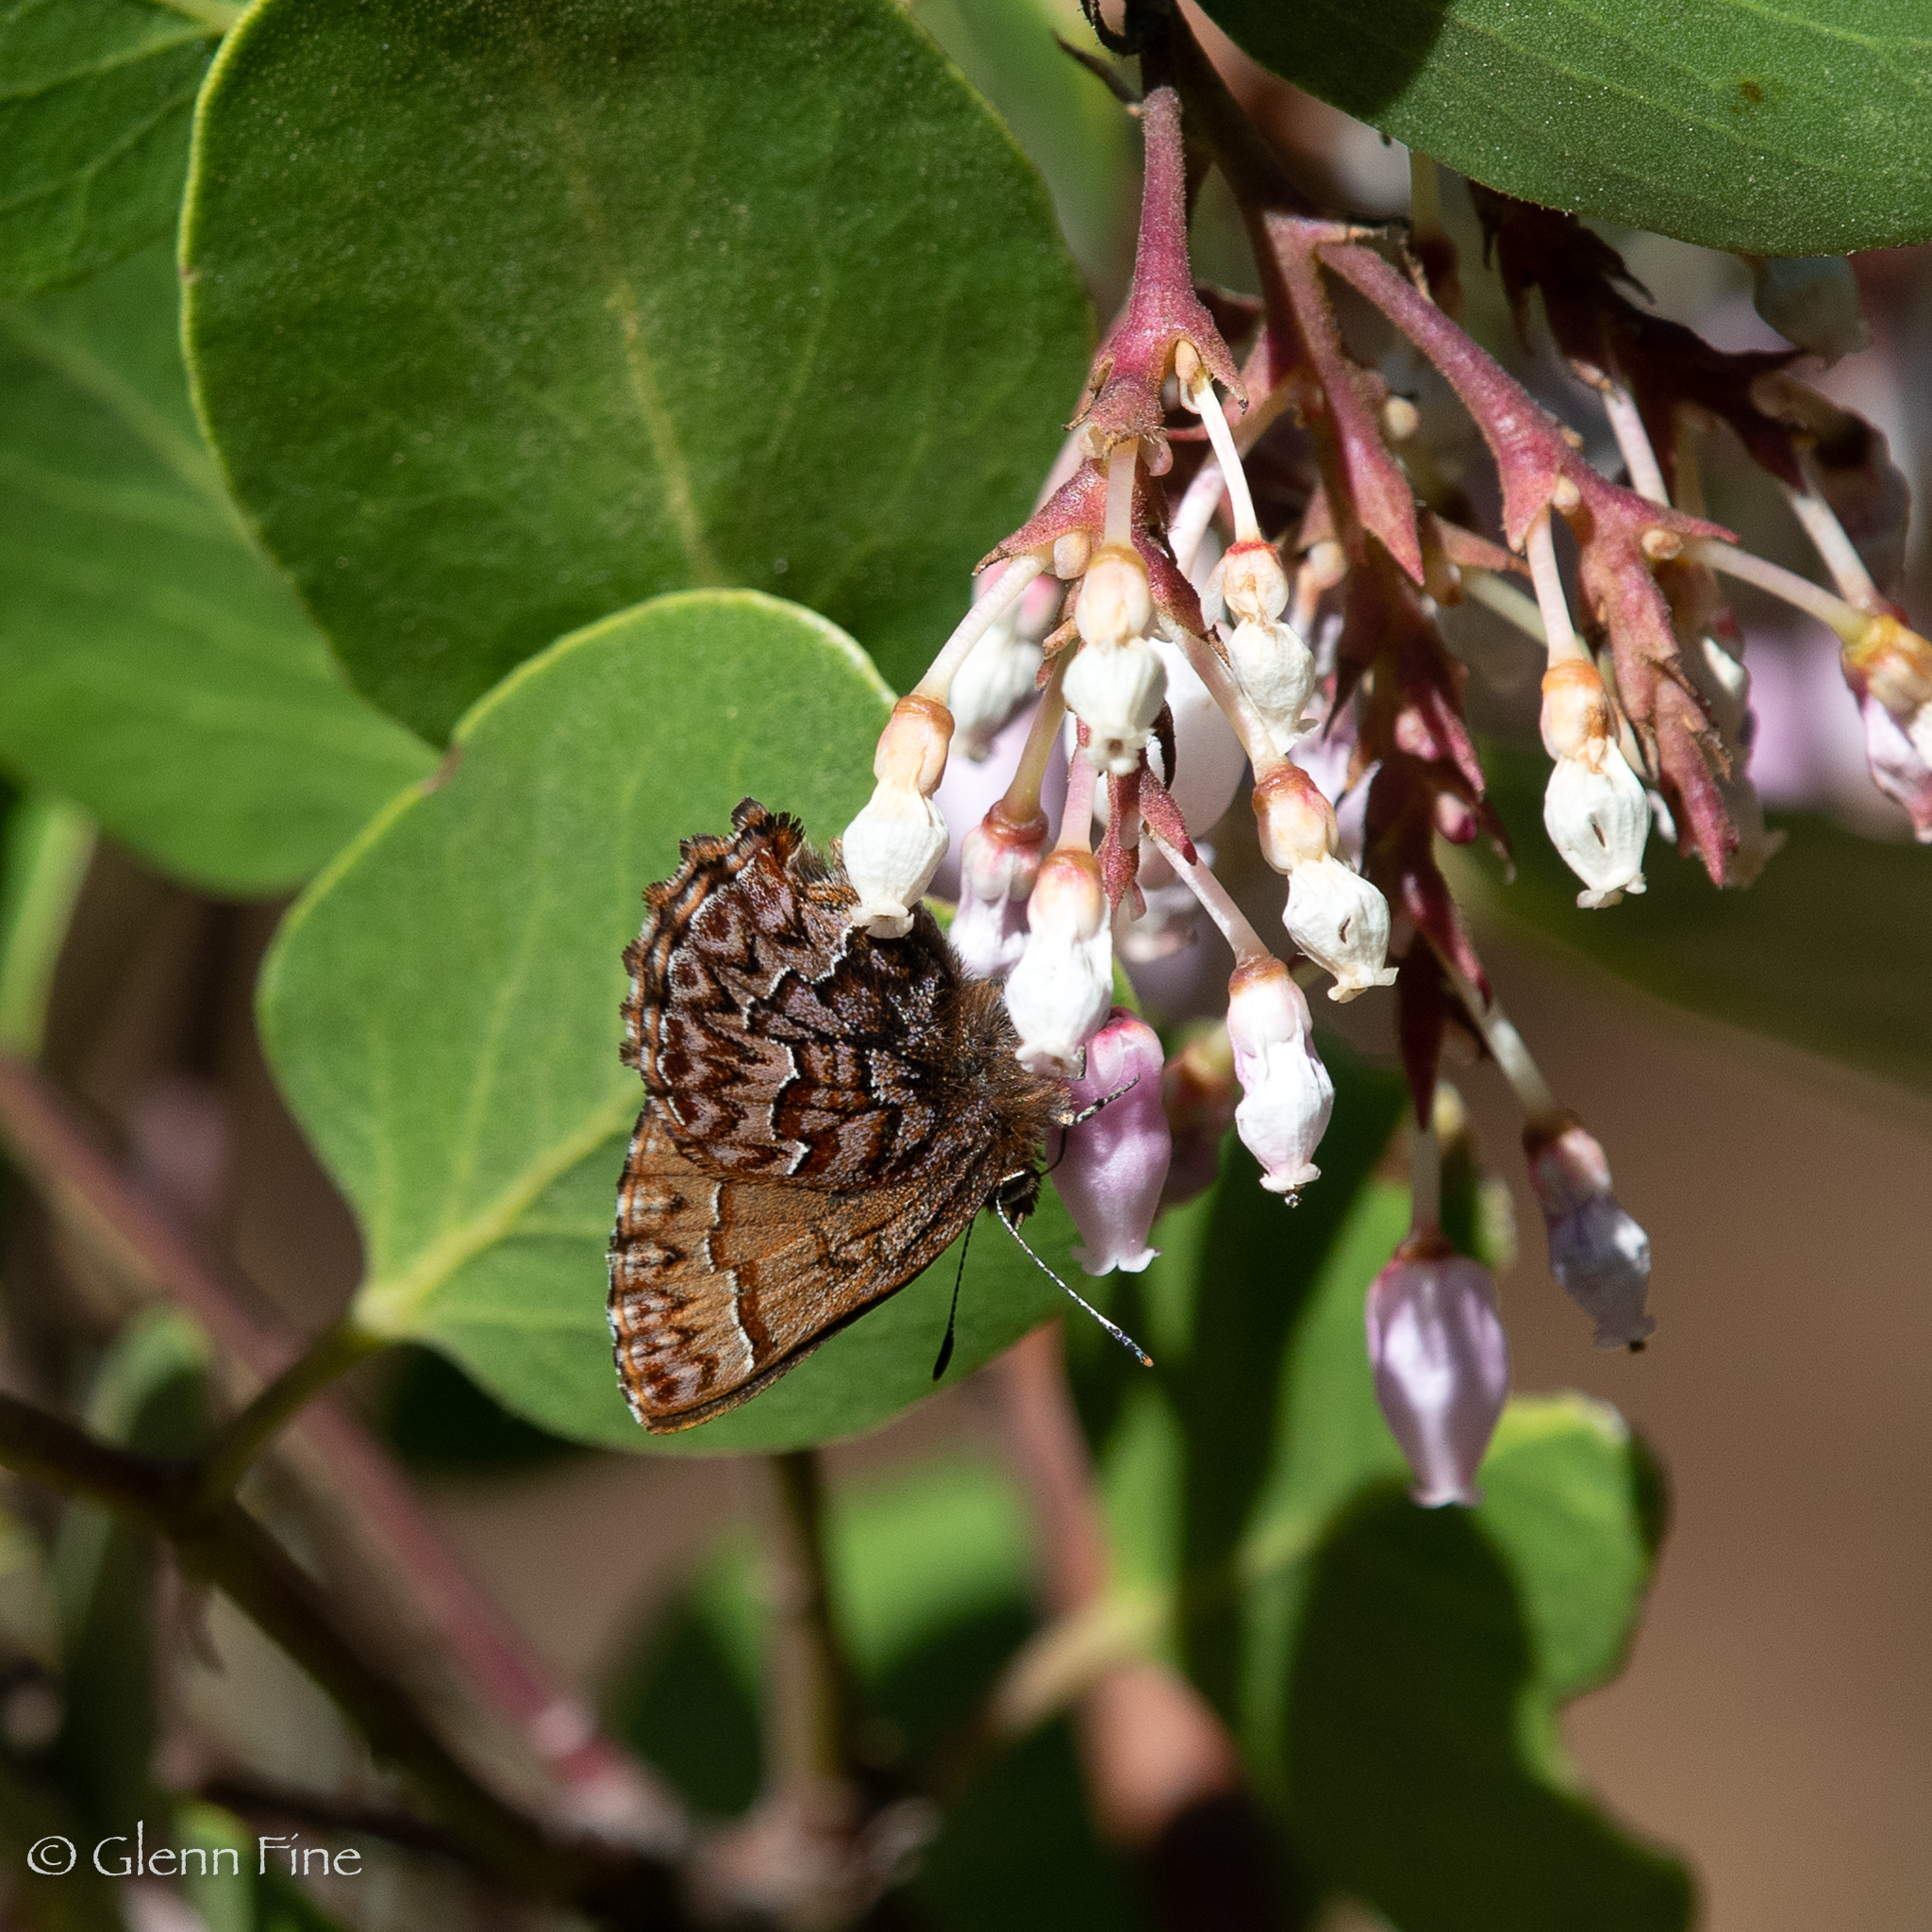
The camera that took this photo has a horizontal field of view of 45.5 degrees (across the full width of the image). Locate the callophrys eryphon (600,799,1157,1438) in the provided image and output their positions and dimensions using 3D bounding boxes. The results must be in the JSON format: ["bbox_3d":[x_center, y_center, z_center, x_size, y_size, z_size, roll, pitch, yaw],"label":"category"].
[{"bbox_3d":[-0.059,0.071,1.052,0.299,0.268,0.156,-11,20,-24],"label":"callophrys eryphon"}]

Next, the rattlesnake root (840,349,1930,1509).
[{"bbox_3d":[0.117,-0.047,1.011,0.456,0.501,0.301,-2,44,-4],"label":"rattlesnake root"}]
